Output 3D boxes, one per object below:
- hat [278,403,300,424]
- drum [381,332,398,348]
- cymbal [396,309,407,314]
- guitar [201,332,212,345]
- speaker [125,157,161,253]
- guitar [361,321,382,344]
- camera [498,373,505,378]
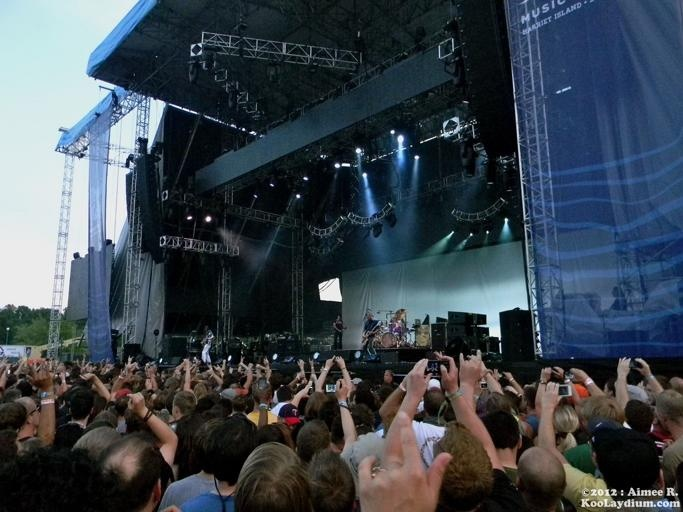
[{"bbox_3d":[-0.472,1.455,4.504,0.146,0.130,0.218,7,-10,-37],"label":"hat"},{"bbox_3d":[1.554,2.730,15.905,0.526,0.523,0.623,-2,-12,5],"label":"drum"},{"bbox_3d":[2.321,2.170,19.003,0.333,0.168,0.501,2,-11,-1],"label":"cymbal"},{"bbox_3d":[-5.588,3.412,20.138,0.451,0.602,0.135,8,-12,-28],"label":"guitar"},{"bbox_3d":[-7.325,-1.935,18.558,0.901,3.325,2.221,3,-12,-16],"label":"speaker"},{"bbox_3d":[1.070,2.716,17.517,0.331,0.859,0.558,8,0,-29],"label":"guitar"},{"bbox_3d":[2.939,2.176,8.935,0.035,0.124,0.128,29,-21,-23],"label":"camera"}]
